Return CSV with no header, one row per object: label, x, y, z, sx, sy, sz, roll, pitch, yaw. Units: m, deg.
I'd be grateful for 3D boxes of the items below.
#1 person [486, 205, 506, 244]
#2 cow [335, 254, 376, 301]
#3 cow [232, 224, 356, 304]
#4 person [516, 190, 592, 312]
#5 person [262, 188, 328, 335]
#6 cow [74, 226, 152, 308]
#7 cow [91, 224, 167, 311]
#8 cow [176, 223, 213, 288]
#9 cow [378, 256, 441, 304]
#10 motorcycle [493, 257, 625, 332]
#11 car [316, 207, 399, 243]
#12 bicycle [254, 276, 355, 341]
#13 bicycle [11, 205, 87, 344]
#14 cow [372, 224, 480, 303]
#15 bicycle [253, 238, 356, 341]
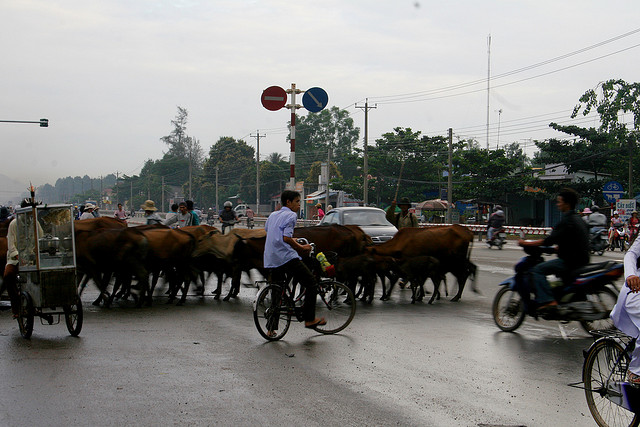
person,7.526,0.521,28.072,0.660,1.637,1.366,2,5,14
cow,0.727,1.285,13.316,0.427,0.901,1.604,4,-4,-40
cow,-0.992,0.765,13.535,3.424,1.625,0.966,0,-14,4
person,3.701,0.579,10.186,0.959,1.877,0.599,2,5,12
person,-0.431,0.740,10.022,0.844,2.157,0.490,1,5,-7
cow,-3.997,1.056,12.799,1.394,1.517,0.638,0,5,-17
cow,-3.790,1.029,12.762,2.811,1.461,0.683,-5,-16,42
cow,-3.093,0.875,14.639,0.608,1.111,2.119,23,-14,-20
cow,1.982,1.332,13.626,1.398,0.919,0.327,-6,2,42
motorcycle,3.749,1.165,10.429,1.015,1.381,2.425,10,-9,-39
car,1.191,0.280,18.274,1.050,0.766,1.763,1,-6,-22
bicycle,-0.408,1.372,10.457,0.857,1.139,2.001,-4,-8,29
bicycle,-4.174,0.880,10.057,0.935,2.010,0.898,-1,5,-24
cow,2.053,1.045,13.750,2.812,1.502,0.647,-2,-8,-25
bicycle,-0.293,1.230,10.760,0.572,1.471,2.247,27,-28,-36
